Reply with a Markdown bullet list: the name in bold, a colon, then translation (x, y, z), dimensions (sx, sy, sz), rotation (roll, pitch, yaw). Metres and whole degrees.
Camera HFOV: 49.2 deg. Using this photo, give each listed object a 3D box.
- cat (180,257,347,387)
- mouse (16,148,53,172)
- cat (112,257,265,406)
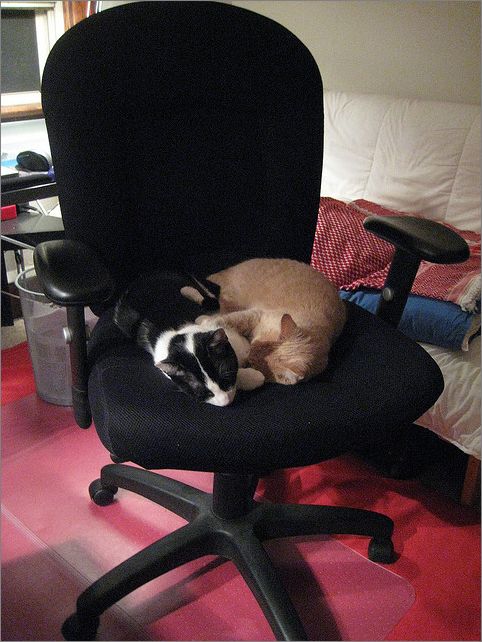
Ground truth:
- **cat**: translation (0.045, 0.033, 0.881), dimensions (0.194, 0.103, 0.230), rotation (-16, 45, -23)
- **mouse**: translation (-0.484, -0.368, 1.218), dimensions (0.069, 0.049, 0.051), rotation (-3, 10, 13)
- **cat**: translation (-0.075, 0.015, 0.827), dimensions (0.166, 0.117, 0.235), rotation (-34, 72, -15)
